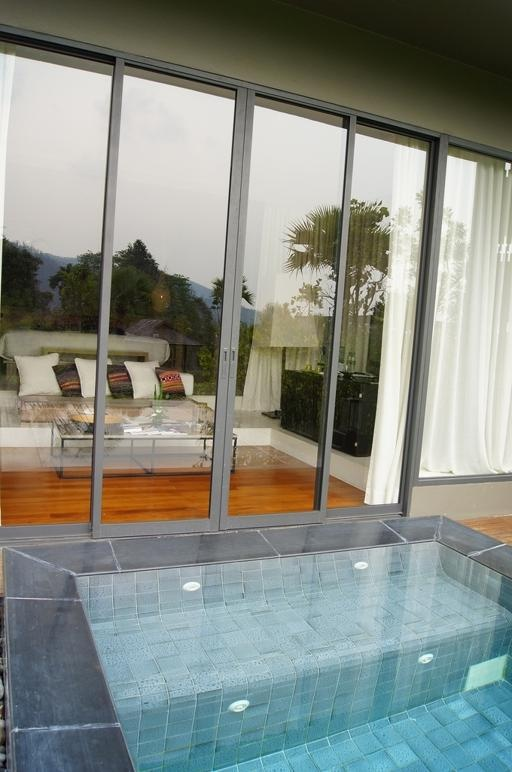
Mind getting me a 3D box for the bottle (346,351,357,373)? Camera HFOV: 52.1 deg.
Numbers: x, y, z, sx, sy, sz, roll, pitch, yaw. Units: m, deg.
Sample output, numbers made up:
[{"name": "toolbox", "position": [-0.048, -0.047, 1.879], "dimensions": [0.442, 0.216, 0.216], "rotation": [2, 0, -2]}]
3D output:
[{"name": "bottle", "position": [0.605, -0.154, 3.332], "dimensions": [0.086, 0.113, 0.023], "rotation": [4, -1, -36]}]
